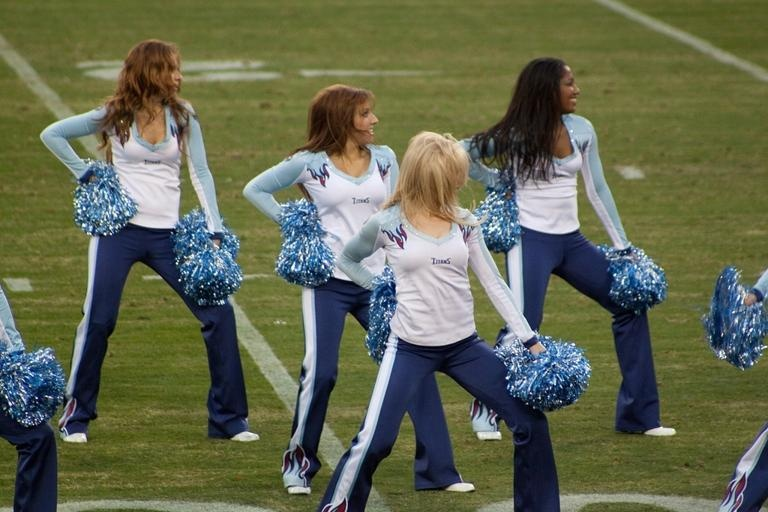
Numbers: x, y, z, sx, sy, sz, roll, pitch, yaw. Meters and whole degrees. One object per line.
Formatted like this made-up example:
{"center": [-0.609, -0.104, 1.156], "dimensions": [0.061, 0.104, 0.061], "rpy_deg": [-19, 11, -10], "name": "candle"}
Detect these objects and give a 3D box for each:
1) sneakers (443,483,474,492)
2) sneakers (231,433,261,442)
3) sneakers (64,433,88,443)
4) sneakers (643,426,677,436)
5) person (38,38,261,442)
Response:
{"center": [0.571, 1.724, 14.059], "dimensions": [0.176, 0.054, 0.083], "rpy_deg": [2, -6, 6], "name": "sneakers"}
{"center": [-1.093, 1.409, 14.647], "dimensions": [0.171, 0.046, 0.091], "rpy_deg": [1, 1, -1], "name": "sneakers"}
{"center": [-2.426, 1.412, 14.573], "dimensions": [0.146, 0.042, 0.087], "rpy_deg": [4, 2, 6], "name": "sneakers"}
{"center": [2.185, 1.358, 14.682], "dimensions": [0.190, 0.059, 0.094], "rpy_deg": [0, -3, 2], "name": "sneakers"}
{"center": [-1.897, -0.136, 14.657], "dimensions": [1.465, 3.058, 0.993], "rpy_deg": [-4, 17, -4], "name": "person"}
